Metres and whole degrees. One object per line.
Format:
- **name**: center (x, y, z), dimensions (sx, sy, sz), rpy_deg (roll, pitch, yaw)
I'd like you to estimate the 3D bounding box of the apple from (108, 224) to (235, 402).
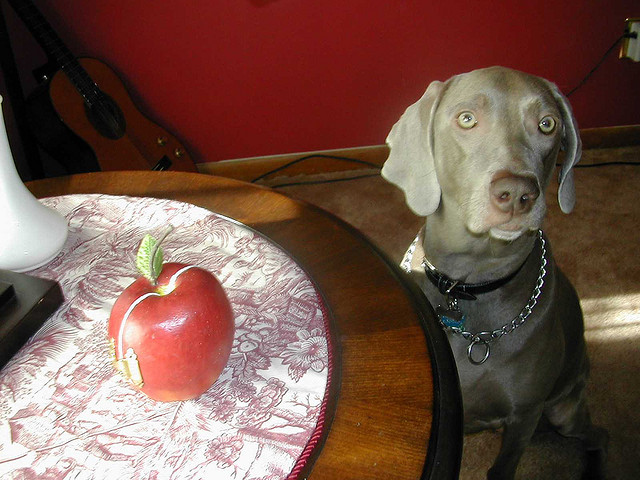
- **apple**: center (-0.241, 0.105, 0.772), dimensions (0.187, 0.291, 0.201), rpy_deg (-4, 11, -1)
